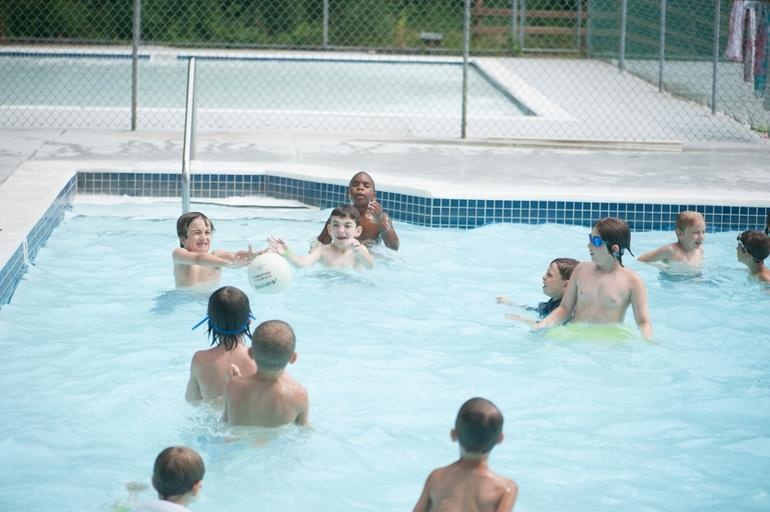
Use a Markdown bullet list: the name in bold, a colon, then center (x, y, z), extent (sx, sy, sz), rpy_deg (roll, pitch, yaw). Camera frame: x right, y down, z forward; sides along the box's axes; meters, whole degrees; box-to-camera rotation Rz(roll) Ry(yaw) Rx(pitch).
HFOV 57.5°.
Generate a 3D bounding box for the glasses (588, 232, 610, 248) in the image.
- **glasses**: center (1.640, -0.127, 5.380), extent (0.101, 0.031, 0.096), rpy_deg (15, 10, -12)

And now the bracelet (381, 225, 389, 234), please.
- **bracelet**: center (-0.005, -0.283, 7.162), extent (0.092, 0.063, 0.089), rpy_deg (0, 3, -1)

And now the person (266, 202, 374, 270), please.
- **person**: center (-0.525, -0.176, 6.648), extent (0.515, 0.612, 1.277), rpy_deg (3, 4, 30)

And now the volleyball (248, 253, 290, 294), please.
- **volleyball**: center (-0.896, 0.133, 5.423), extent (0.279, 0.321, 0.195), rpy_deg (2, 4, 25)
